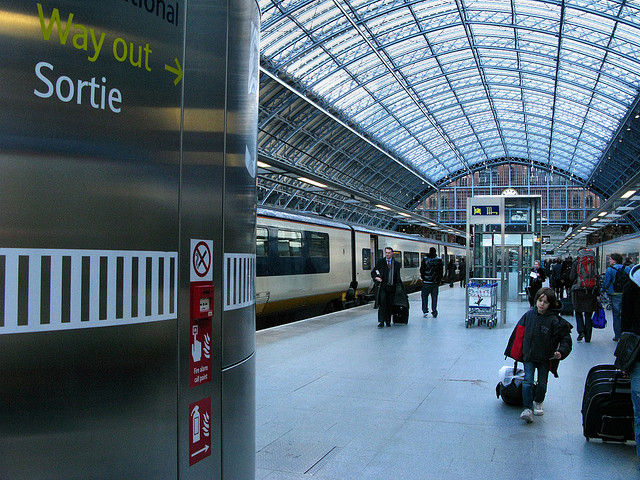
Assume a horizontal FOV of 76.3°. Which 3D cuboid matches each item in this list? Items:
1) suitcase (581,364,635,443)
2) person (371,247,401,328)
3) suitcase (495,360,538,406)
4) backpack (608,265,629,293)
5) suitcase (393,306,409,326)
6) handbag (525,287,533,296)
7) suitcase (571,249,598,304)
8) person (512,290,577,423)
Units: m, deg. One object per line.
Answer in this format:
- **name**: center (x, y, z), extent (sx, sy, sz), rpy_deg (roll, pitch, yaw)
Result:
- **suitcase**: center (3.555, 2.022, 5.054), extent (0.512, 0.882, 0.823), rpy_deg (-1, -2, 35)
- **person**: center (2.158, 1.558, 13.354), extent (0.869, 2.506, 1.039), rpy_deg (0, -2, 9)
- **suitcase**: center (3.046, 2.186, 6.270), extent (0.611, 0.696, 0.442), rpy_deg (0, -1, 20)
- **backpack**: center (7.796, 1.059, 10.659), extent (0.335, 0.684, 0.399), rpy_deg (0, -2, 33)
- **suitcase**: center (2.651, 2.504, 13.564), extent (0.598, 0.509, 0.909), rpy_deg (3, -29, 11)
- **handbag**: center (8.893, 2.224, 17.326), extent (0.091, 0.300, 0.324), rpy_deg (5, -2, -22)
- **suitcase**: center (7.315, 1.032, 11.195), extent (0.824, 1.524, 0.747), rpy_deg (0, -2, -21)
- **person**: center (3.287, 1.628, 6.117), extent (0.729, 1.791, 1.554), rpy_deg (0, -2, 24)
